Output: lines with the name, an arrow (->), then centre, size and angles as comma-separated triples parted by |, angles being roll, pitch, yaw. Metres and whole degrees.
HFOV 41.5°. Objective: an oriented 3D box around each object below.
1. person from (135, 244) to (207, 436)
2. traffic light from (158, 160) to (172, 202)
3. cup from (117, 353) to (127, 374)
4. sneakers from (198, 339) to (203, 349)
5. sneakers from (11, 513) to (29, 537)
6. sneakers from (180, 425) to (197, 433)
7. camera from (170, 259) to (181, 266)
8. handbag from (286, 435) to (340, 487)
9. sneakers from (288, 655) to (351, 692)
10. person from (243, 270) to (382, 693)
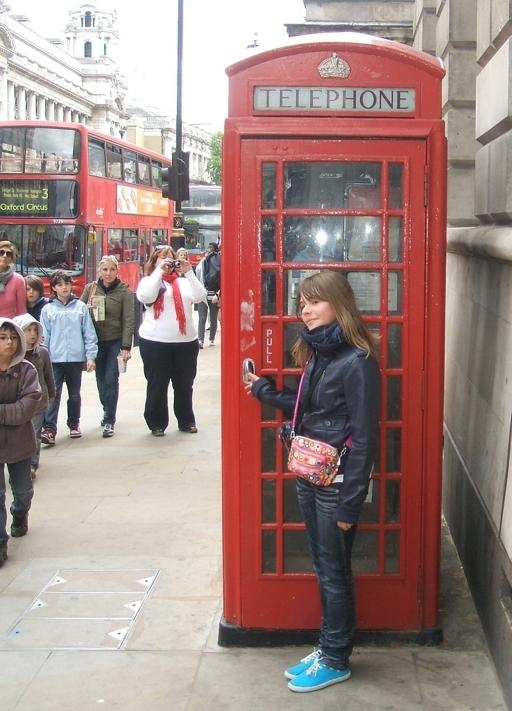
person -> -0.864, -0.136, 7.027 | 0.679, 2.003, 1.018 | -1, 0, -8
traffic light -> -2.059, -4.016, 15.683 | 0.281, 0.801, 0.703 | -1, 0, -8
cup -> -1.444, 0.096, 7.304 | 0.086, 0.205, 0.327 | -1, 0, -14
sneakers -> -1.100, -0.217, 13.682 | 0.081, 0.121, 0.266 | 0, 7, -2
sneakers -> -1.523, 1.117, 4.365 | 0.062, 0.156, 0.203 | 1, -3, 3
sneakers -> -0.735, 0.812, 7.493 | 0.211, 0.104, 0.075 | -1, 2, 26
camera -> -0.800, -0.913, 6.740 | 0.060, 0.076, 0.218 | -1, 0, -18
handbag -> 0.184, 0.355, 2.356 | 0.160, 0.155, 0.157 | 19, 3, -37
sneakers -> 0.234, 1.150, 2.508 | 0.226, 0.104, 0.085 | -4, 10, -23
person -> 0.264, 0.463, 2.395 | 0.334, 1.449, 0.408 | -1, 0, 2
